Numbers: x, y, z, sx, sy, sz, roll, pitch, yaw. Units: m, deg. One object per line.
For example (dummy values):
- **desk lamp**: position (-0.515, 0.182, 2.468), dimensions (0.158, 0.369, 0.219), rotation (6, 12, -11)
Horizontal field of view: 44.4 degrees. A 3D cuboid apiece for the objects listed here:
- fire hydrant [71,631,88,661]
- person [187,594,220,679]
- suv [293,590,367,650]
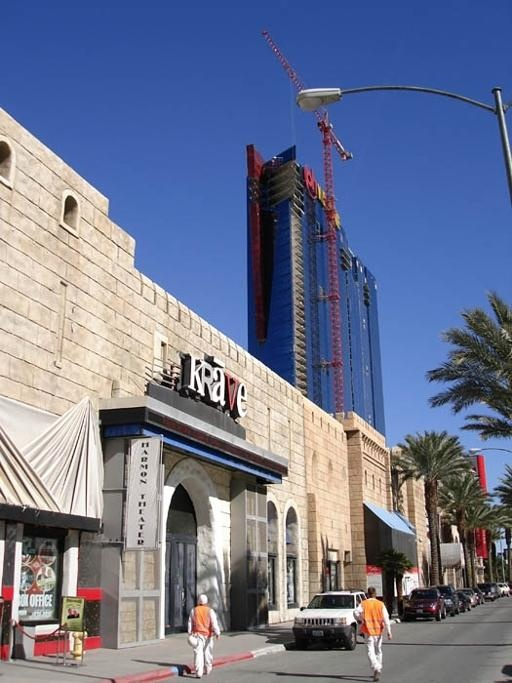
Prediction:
- **fire hydrant**: position (-3.290, 5.595, 11.507), dimensions (0.209, 0.467, 0.876), rotation (4, -23, -17)
- **person**: position (-0.973, 5.319, 11.311), dimensions (0.475, 1.880, 0.701), rotation (1, -18, -4)
- **suv**: position (2.454, 8.161, 18.373), dimensions (1.707, 1.688, 3.611), rotation (-9, -24, 21)
